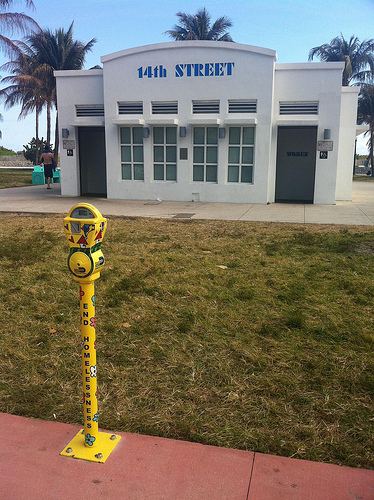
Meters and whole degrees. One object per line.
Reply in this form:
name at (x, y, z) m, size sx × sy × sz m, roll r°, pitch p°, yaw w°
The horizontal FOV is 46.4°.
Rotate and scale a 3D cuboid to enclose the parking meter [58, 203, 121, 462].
parking meter at (-0.490, 0.411, 2.231) m, size 0.252 × 1.290 × 0.250 m, roll 4°, pitch 9°, yaw 14°
